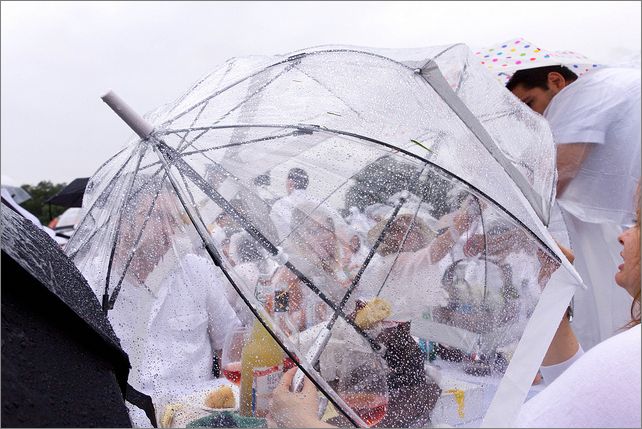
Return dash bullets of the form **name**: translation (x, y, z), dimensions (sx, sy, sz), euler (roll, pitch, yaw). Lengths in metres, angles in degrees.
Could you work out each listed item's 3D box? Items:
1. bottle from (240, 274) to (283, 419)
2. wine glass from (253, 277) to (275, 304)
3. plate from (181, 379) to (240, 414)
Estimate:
- **bottle**: translation (-0.181, 0.424, 1.486), dimensions (0.146, 0.357, 0.150), euler (2, 5, 0)
- **wine glass**: translation (-0.171, 0.219, 1.443), dimensions (0.052, 0.072, 0.026), euler (5, -3, -22)
- **plate**: translation (-0.328, 0.515, 1.466), dimensions (0.117, 0.047, 0.118), euler (-5, -4, 3)
